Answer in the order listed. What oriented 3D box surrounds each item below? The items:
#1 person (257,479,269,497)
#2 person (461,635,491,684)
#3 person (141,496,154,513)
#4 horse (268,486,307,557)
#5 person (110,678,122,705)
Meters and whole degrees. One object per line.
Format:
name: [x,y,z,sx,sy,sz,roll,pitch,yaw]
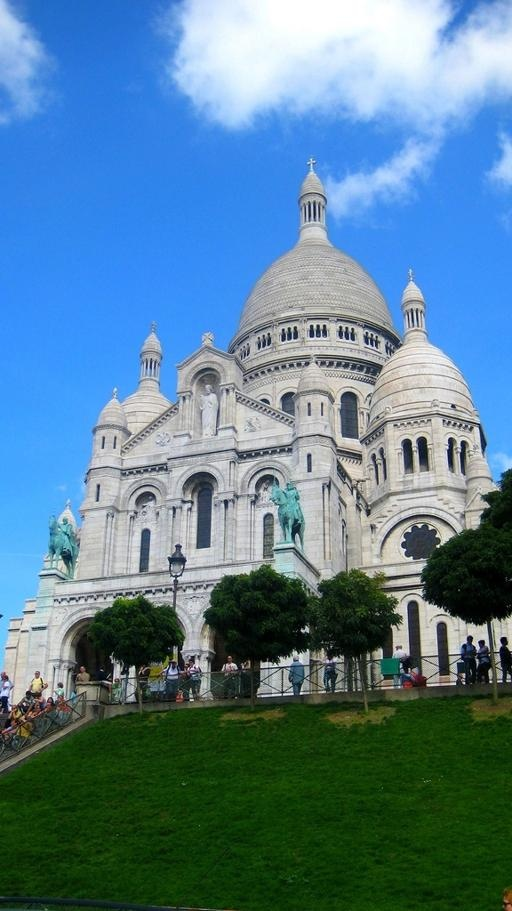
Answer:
person: [0.495,1.999,44.894,0.769,1.088,0.394,-7,-4,13]
person: [7.920,7.451,26.993,0.948,1.197,2.893,-7,-4,13]
person: [-6.779,3.092,47.869,1.084,1.142,0.421,-9,-5,30]
horse: [1.776,2.945,38.159,1.040,3.478,3.419,-14,-31,26]
person: [-5.584,9.462,30.303,0.433,0.774,0.791,-6,-4,-9]
